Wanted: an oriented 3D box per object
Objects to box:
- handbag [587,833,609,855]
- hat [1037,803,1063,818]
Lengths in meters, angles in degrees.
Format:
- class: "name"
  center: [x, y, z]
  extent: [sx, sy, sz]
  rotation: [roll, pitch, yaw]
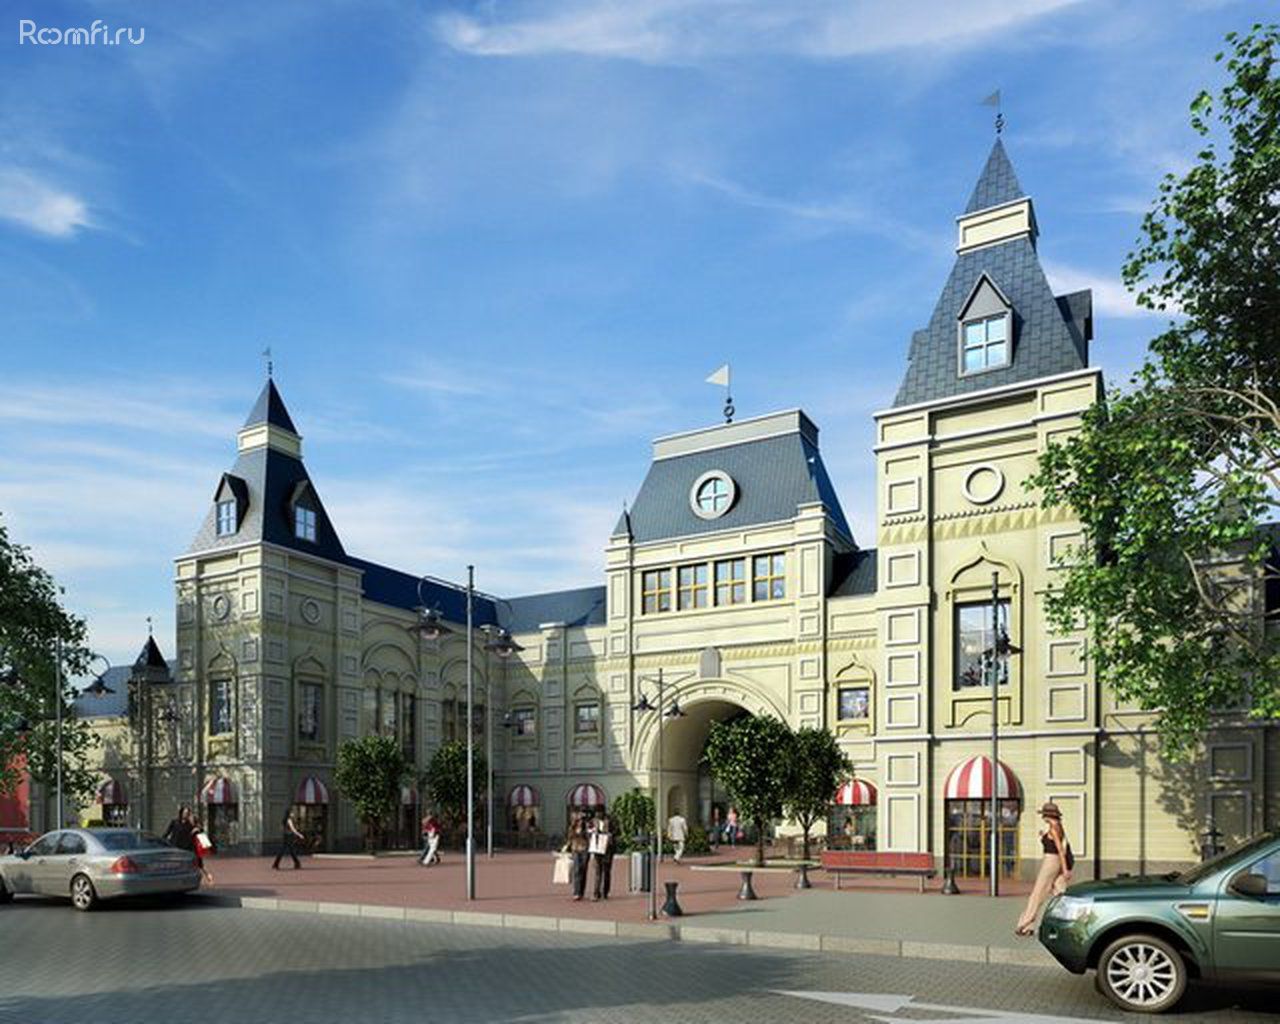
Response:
- class: "handbag"
  center: [-0.955, 7.416, 38.537]
  extent: [0.465, 0.501, 0.416]
  rotation: [-7, -13, 32]
- class: "hat"
  center: [8.088, 5.884, 34.064]
  extent: [0.560, 0.253, 0.649]
  rotation: [-1, -5, 20]
